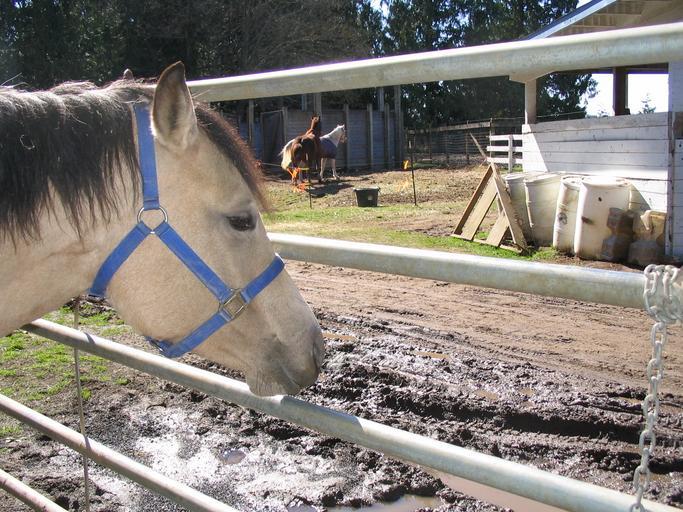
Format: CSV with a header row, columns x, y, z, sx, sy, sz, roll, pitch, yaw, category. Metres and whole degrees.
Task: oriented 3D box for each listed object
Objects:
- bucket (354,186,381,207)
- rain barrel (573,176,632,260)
x,y,z,sx,sy,sz,roll,pitch,yaw,category
0.560,-1.350,15.741,0.536,0.460,0.560,-2,11,0,bucket
3.577,-0.389,9.188,0.561,0.978,0.586,14,6,-1,rain barrel
